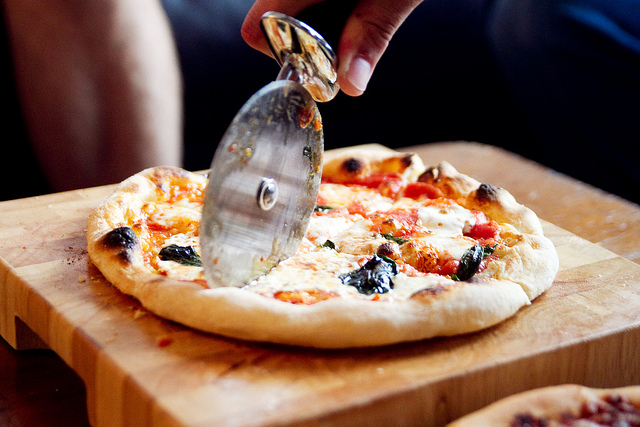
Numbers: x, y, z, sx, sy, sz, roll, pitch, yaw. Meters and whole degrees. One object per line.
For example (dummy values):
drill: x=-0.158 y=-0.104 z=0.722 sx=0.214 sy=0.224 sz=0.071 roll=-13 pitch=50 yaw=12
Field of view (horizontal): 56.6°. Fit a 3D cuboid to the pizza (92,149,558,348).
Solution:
pizza: x=0.050 y=0.142 z=2.092 sx=1.034 sy=0.140 sz=1.039 roll=9 pitch=19 yaw=11
